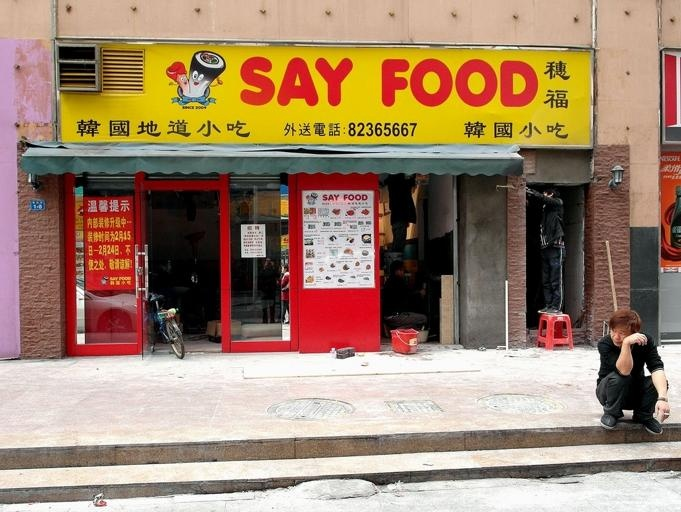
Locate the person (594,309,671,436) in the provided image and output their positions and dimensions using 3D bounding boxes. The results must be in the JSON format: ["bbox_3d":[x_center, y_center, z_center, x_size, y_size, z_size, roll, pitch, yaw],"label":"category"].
[{"bbox_3d":[3.866,1.553,12.106,0.899,1.656,0.502,0,-2,13],"label":"person"}]

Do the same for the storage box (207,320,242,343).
[{"bbox_3d":[-2.172,1.372,16.732,0.601,0.342,0.555,1,-9,-8],"label":"storage box"}]

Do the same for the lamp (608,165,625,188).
[{"bbox_3d":[4.941,-1.425,16.269,0.292,0.422,0.271,0,-1,7],"label":"lamp"}]

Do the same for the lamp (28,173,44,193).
[{"bbox_3d":[-5.118,-1.245,15.350,0.237,0.256,0.294,1,-1,-23],"label":"lamp"}]

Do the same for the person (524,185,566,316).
[{"bbox_3d":[3.749,-0.109,16.422,0.552,2.286,0.737,0,-2,12],"label":"person"}]

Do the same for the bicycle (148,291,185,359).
[{"bbox_3d":[-3.063,1.232,16.000,0.582,1.096,1.130,1,-1,-23],"label":"bicycle"}]

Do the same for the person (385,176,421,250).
[{"bbox_3d":[1.148,-0.838,17.377,0.564,1.455,0.665,0,-1,5],"label":"person"}]

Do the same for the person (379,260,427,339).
[{"bbox_3d":[1.239,0.816,17.608,0.837,1.463,1.794,0,-1,2],"label":"person"}]

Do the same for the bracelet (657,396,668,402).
[{"bbox_3d":[4.190,1.878,11.867,0.100,0.060,0.111,0,-1,16],"label":"bracelet"}]

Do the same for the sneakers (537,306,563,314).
[{"bbox_3d":[3.765,0.972,16.332,0.295,0.092,0.160,0,0,-13],"label":"sneakers"}]

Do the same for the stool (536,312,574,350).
[{"bbox_3d":[3.844,1.363,16.408,0.706,0.511,0.681,0,4,25],"label":"stool"}]

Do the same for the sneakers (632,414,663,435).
[{"bbox_3d":[4.101,2.262,12.156,0.429,0.156,0.165,14,12,42],"label":"sneakers"}]

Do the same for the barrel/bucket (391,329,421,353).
[{"bbox_3d":[1.139,1.520,16.035,0.450,0.421,0.451,0,-1,0],"label":"barrel/bucket"}]
